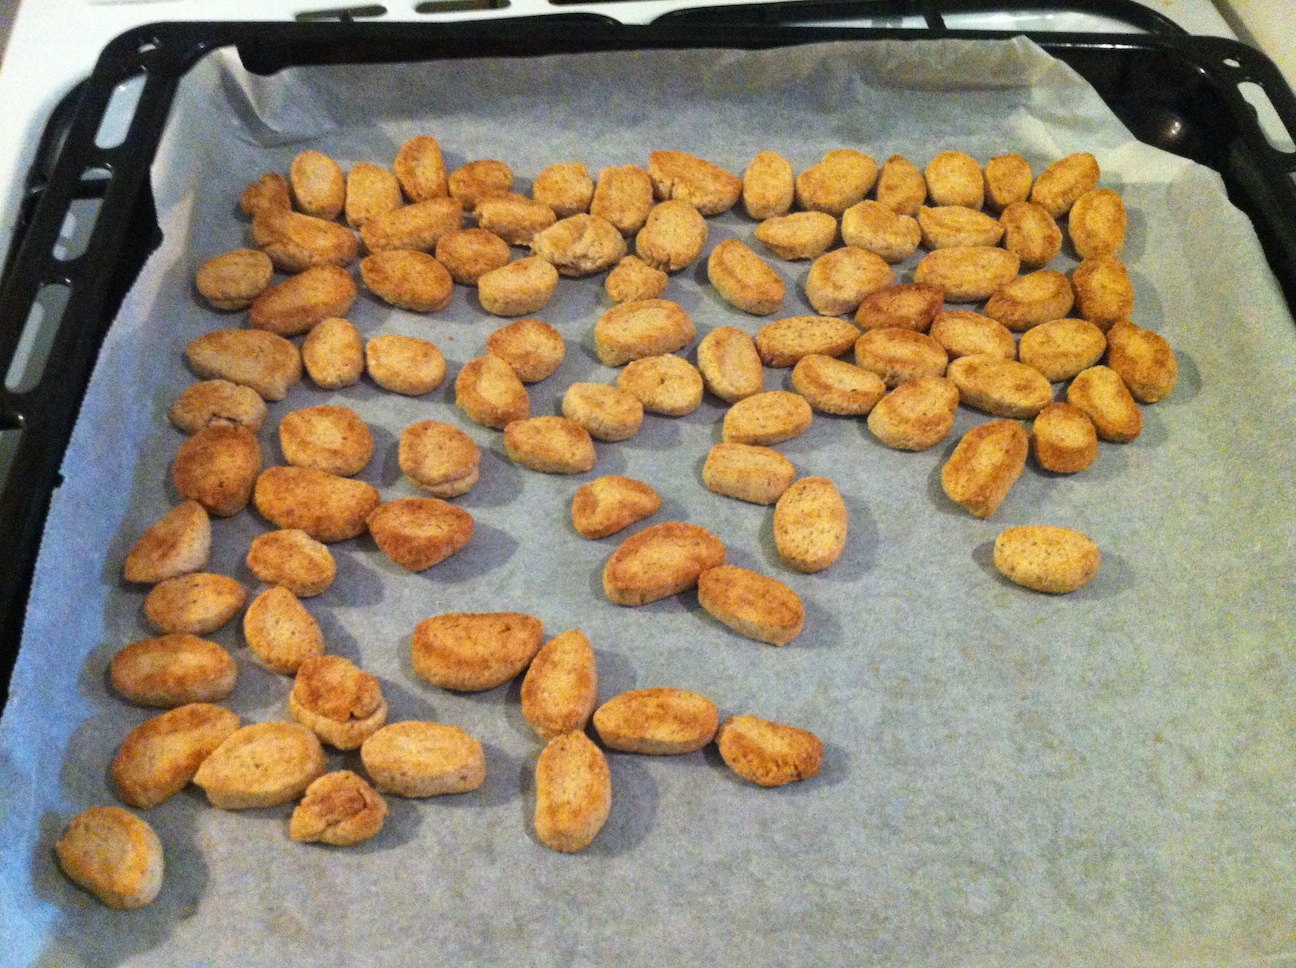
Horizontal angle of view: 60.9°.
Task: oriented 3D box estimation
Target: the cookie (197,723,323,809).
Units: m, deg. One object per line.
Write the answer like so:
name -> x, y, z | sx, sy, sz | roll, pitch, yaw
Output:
cookie -> -0.480, 0.347, 1.366 | 0.142, 0.030, 0.102 | 1, 66, -4

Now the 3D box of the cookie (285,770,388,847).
cookie -> -0.371, 0.397, 1.335 | 0.106, 0.038, 0.092 | 14, 66, 2

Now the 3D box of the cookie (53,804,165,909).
cookie -> -0.636, 0.445, 1.312 | 0.139, 0.034, 0.096 | 27, 67, 8

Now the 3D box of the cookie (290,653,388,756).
cookie -> -0.393, 0.266, 1.413 | 0.121, 0.039, 0.135 | -1, 98, -3

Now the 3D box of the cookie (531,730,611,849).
cookie -> -0.091, 0.376, 1.377 | 0.100, 0.045, 0.155 | 1, 38, 4

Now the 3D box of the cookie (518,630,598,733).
cookie -> -0.112, 0.260, 1.433 | 0.099, 0.037, 0.143 | 2, 66, -3

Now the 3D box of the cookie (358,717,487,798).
cookie -> -0.274, 0.337, 1.365 | 0.123, 0.034, 0.084 | 5, 40, 2

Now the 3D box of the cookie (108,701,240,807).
cookie -> -0.600, 0.333, 1.399 | 0.096, 0.045, 0.165 | 36, 45, 21
